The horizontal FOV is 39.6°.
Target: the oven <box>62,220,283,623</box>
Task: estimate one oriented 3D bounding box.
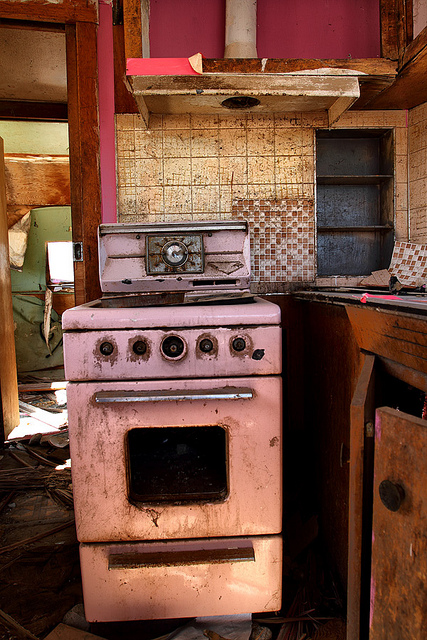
[{"bbox_3d":[-0.119,0.282,1.932,0.634,1.163,0.546,-1,11,-1],"label":"oven"}]
